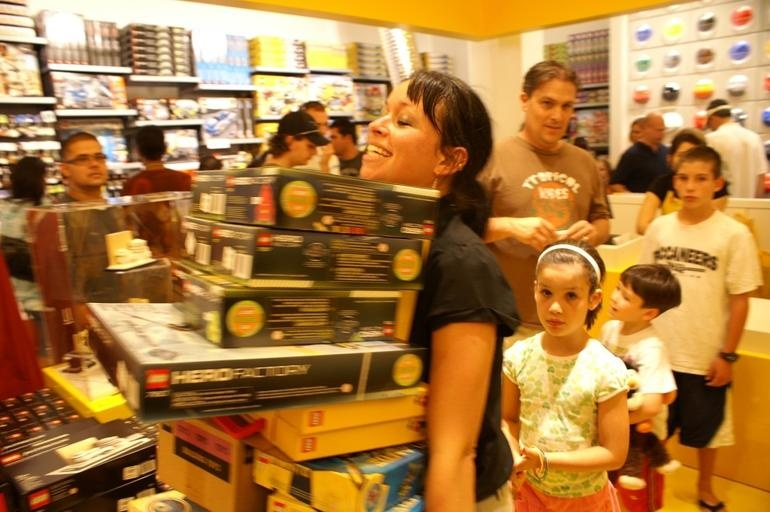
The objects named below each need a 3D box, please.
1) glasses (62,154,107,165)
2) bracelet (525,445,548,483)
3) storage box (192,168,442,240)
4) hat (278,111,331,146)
[{"bbox_3d":[-1.883,-0.615,3.291,0.232,0.073,0.237,-8,14,-25],"label":"glasses"},{"bbox_3d":[0.560,0.737,1.905,0.067,0.123,0.148,16,37,8],"label":"bracelet"},{"bbox_3d":[-0.148,-0.120,1.264,0.553,0.195,0.221,-1,15,4],"label":"storage box"},{"bbox_3d":[-0.617,-0.973,4.011,0.407,0.155,0.226,3,22,-10],"label":"hat"}]
